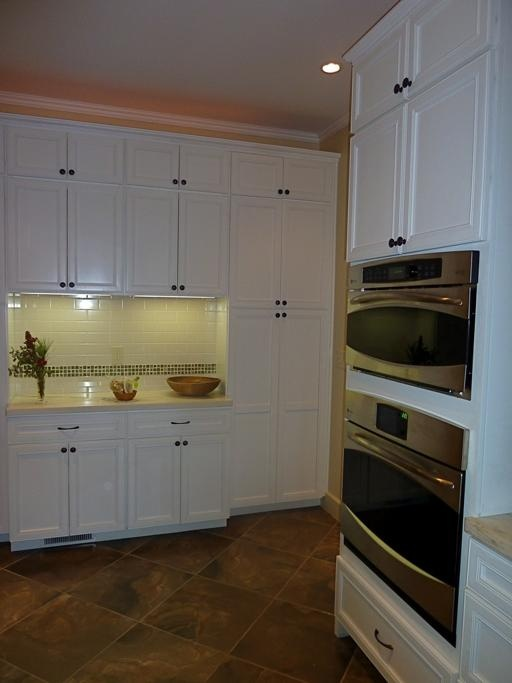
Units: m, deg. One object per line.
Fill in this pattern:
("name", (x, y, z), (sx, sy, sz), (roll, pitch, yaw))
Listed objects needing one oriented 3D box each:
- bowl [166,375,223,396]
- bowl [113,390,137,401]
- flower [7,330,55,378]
("bowl", (-0.407, 0.290, 3.464), (0.346, 0.108, 0.436), (1, 4, -8))
("bowl", (-0.789, 0.326, 3.178), (0.127, 0.062, 0.142), (0, 4, -17))
("flower", (-1.298, 0.079, 3.114), (0.283, 0.334, 0.285), (2, 6, 5))
